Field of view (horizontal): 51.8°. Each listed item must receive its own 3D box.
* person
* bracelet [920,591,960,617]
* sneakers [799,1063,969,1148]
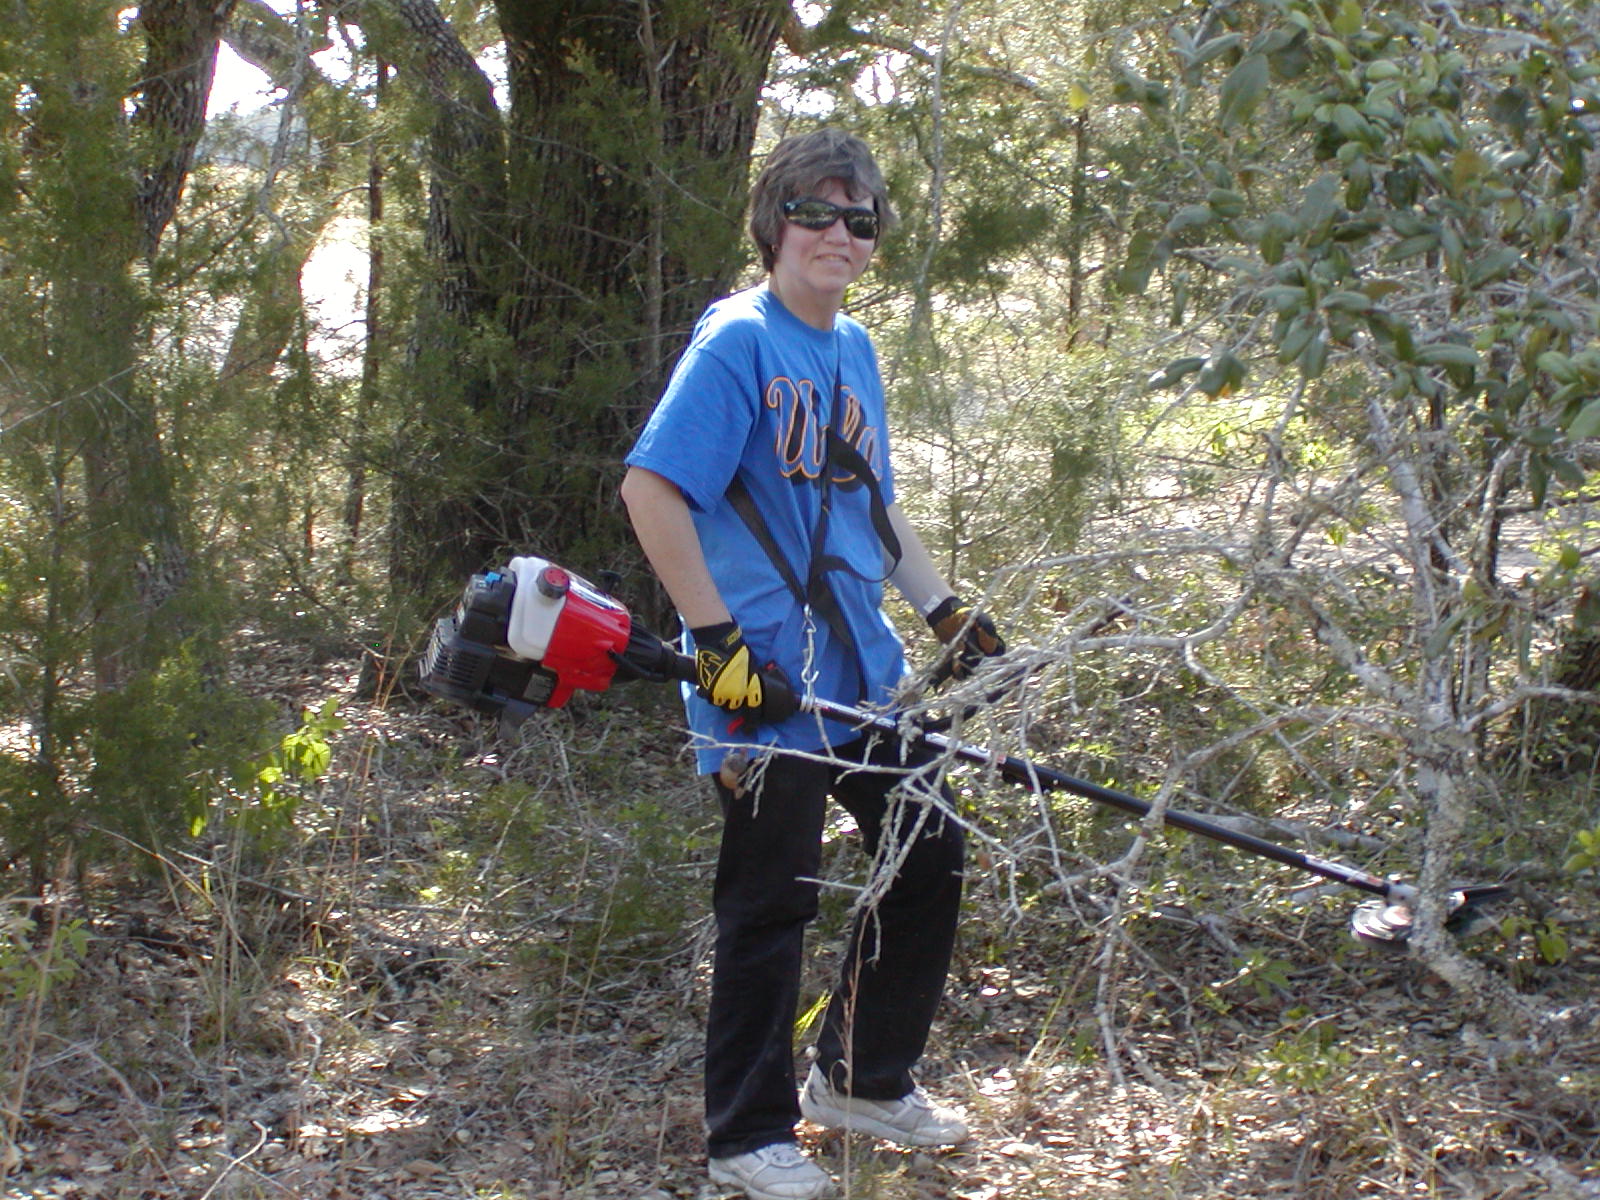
[{"bbox_3d":[0.021,0.171,4.456,1.061,2.591,0.476,5,-2,-25],"label":"person"},{"bbox_3d":[0.408,0.019,4.841,0.052,0.041,0.053,-23,-3,-17],"label":"bracelet"},{"bbox_3d":[0.247,1.451,4.721,0.515,0.263,0.195,8,-7,5],"label":"sneakers"}]
